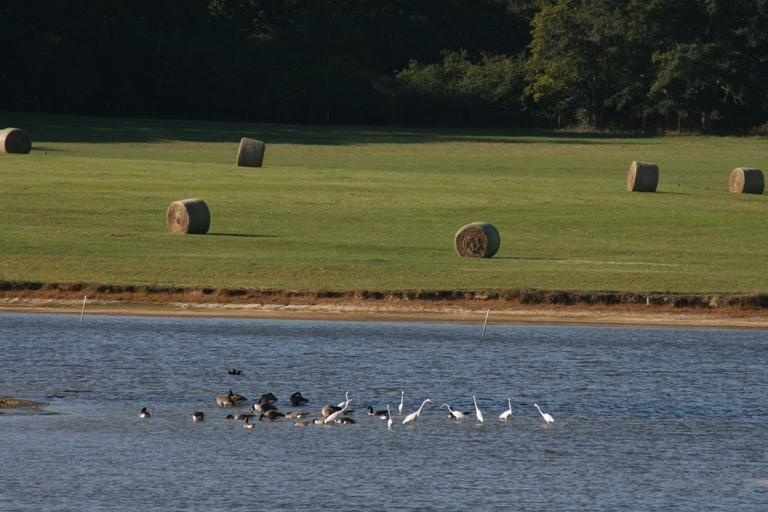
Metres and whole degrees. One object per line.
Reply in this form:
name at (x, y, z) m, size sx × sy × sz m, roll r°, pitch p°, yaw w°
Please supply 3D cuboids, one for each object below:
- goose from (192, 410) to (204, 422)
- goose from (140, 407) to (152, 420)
goose at (-11.575, 10.089, 138.326) m, size 0.330 × 0.570 × 1.132 m, roll 2°, pitch 4°, yaw 21°
goose at (-14.838, 9.916, 138.513) m, size 0.561 × 0.263 × 0.656 m, roll 3°, pitch 63°, yaw -13°
